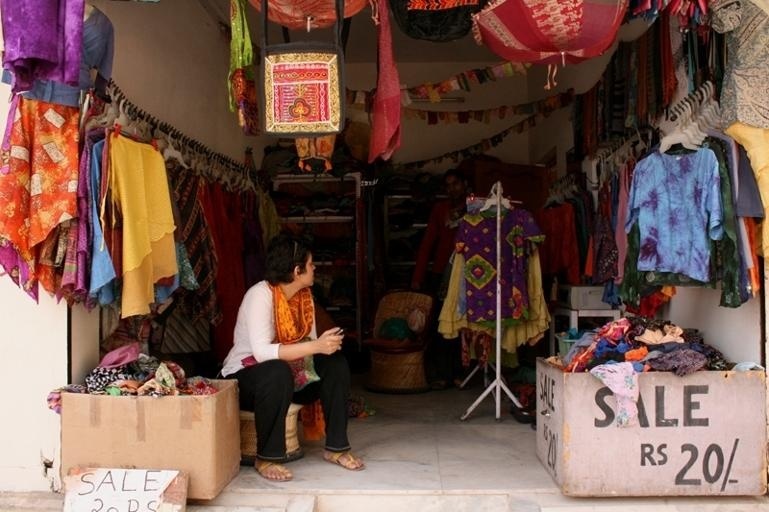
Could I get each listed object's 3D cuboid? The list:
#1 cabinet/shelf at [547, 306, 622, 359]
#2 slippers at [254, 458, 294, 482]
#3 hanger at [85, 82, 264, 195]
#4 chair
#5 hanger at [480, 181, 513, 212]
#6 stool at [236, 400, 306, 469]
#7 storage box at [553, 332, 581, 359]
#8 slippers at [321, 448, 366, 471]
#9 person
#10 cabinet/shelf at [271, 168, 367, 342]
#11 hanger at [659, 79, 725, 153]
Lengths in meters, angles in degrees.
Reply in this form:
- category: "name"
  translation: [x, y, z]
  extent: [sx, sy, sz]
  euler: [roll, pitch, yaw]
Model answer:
- category: "cabinet/shelf"
  translation: [1.752, 0.532, 7.029]
  extent: [0.619, 0.485, 0.393]
  euler: [-1, 0, -3]
- category: "slippers"
  translation: [-0.700, 1.394, 5.207]
  extent: [0.227, 0.104, 0.107]
  euler: [-9, -10, 44]
- category: "hanger"
  translation: [-1.531, -0.896, 6.382]
  extent: [0.316, 0.701, 1.999]
  euler: [-1, 1, 14]
- category: "chair"
  translation: [0.148, 0.776, 7.328]
  extent: [0.594, 0.880, 0.477]
  euler: [-1, 1, 7]
- category: "hanger"
  translation: [0.926, -0.503, 6.534]
  extent: [0.240, 0.248, 0.375]
  euler: [-2, 1, -16]
- category: "stool"
  translation: [-0.777, 1.205, 5.417]
  extent: [0.351, 0.349, 0.405]
  euler: [0, -6, -6]
- category: "storage box"
  translation: [1.494, 0.722, 6.534]
  extent: [0.189, 0.149, 0.315]
  euler: [0, -4, -1]
- category: "slippers"
  translation: [-0.255, 1.350, 5.372]
  extent: [0.231, 0.101, 0.121]
  euler: [2, 0, 32]
- category: "person"
  translation: [-0.626, 0.645, 5.352]
  extent: [0.892, 1.576, 0.575]
  euler: [-1, 1, -13]
- category: "cabinet/shelf"
  translation: [-0.628, -0.027, 8.102]
  extent: [0.829, 1.554, 0.740]
  euler: [-5, 13, 2]
- category: "hanger"
  translation: [2.063, -0.944, 5.420]
  extent: [0.374, 0.485, 0.360]
  euler: [-1, 1, 24]
